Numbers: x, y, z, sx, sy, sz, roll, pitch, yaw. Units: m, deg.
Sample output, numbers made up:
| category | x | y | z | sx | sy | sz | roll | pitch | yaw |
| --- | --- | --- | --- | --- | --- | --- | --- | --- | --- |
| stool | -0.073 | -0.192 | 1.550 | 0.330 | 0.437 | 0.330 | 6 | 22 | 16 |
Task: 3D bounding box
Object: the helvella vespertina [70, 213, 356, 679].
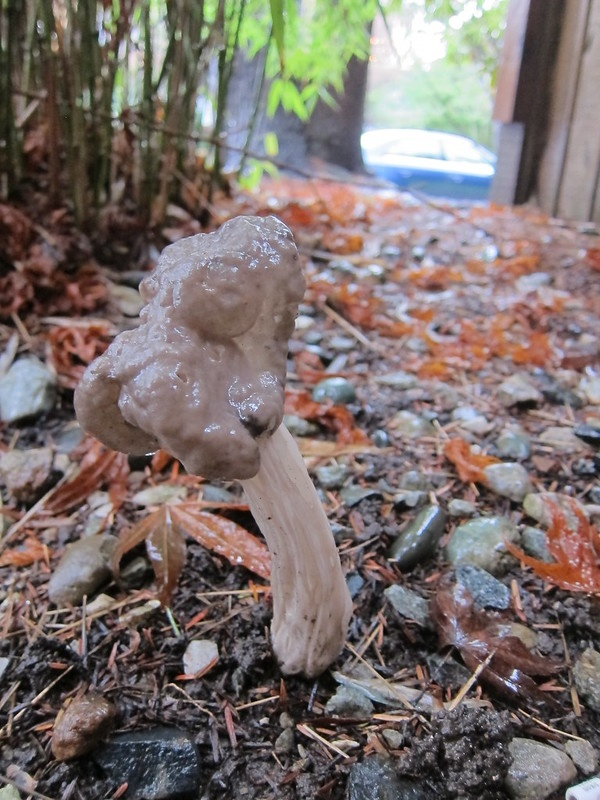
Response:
| category | x | y | z | sx | sy | sz | roll | pitch | yaw |
| --- | --- | --- | --- | --- | --- | --- | --- | --- | --- |
| helvella vespertina | -0.183 | 0.159 | 1.674 | 0.577 | 1.109 | 0.458 | 20 | 21 | 25 |
